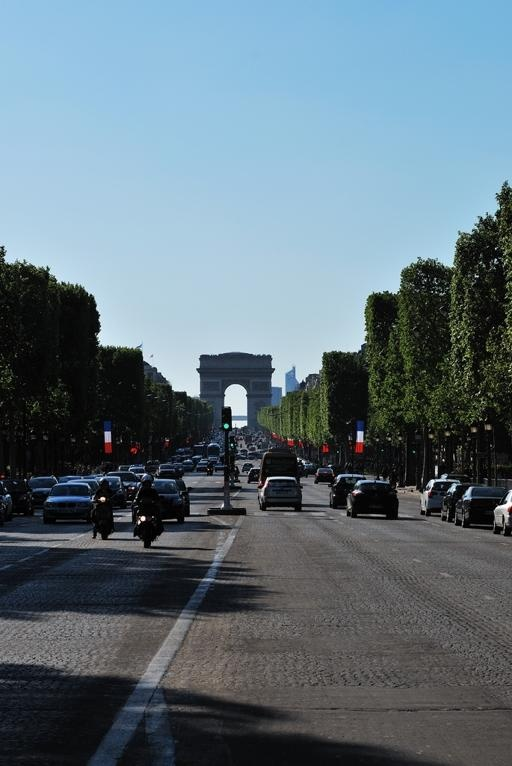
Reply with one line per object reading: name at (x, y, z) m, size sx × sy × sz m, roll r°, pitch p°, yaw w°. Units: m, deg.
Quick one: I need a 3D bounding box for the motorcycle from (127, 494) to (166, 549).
motorcycle at (-3.082, 3.915, 24.247) m, size 1.131 × 1.589 × 0.826 m, roll 0°, pitch 4°, yaw -28°

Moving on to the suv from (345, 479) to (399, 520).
suv at (5.655, 5.682, 41.203) m, size 2.091 × 1.875 × 3.158 m, roll -1°, pitch -3°, yaw -2°

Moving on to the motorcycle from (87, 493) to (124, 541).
motorcycle at (-5.084, 4.456, 28.361) m, size 0.662 × 1.540 × 1.859 m, roll 1°, pitch -5°, yaw -11°

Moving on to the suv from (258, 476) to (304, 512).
suv at (1.433, 6.557, 49.339) m, size 1.899 × 1.608 × 3.451 m, roll 0°, pitch 1°, yaw 0°

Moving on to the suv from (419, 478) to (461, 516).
suv at (9.592, 6.178, 45.124) m, size 1.368 × 1.441 × 2.608 m, roll 0°, pitch -3°, yaw 3°

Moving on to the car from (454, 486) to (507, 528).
car at (9.185, 5.140, 35.378) m, size 1.736 × 1.770 × 2.263 m, roll -1°, pitch -1°, yaw 0°
